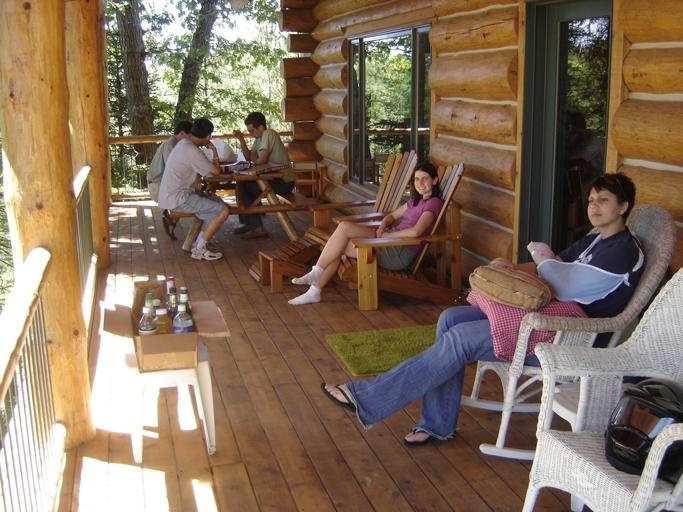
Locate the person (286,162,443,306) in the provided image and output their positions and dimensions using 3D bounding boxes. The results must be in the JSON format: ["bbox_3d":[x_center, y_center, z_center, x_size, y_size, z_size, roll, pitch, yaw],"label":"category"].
[{"bbox_3d":[0.175,-0.262,5.214,1.922,1.144,1.104,-23,30,-37],"label":"person"}]

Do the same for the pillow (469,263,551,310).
[{"bbox_3d":[0.922,0.164,2.705,0.270,0.101,0.266,23,17,21],"label":"pillow"}]

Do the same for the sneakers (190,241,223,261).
[{"bbox_3d":[-1.775,-0.073,6.651,0.457,0.262,0.189,-4,20,-11],"label":"sneakers"}]

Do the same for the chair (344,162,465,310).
[{"bbox_3d":[0.735,-0.208,5.643,1.645,1.555,1.203,-5,11,-17],"label":"chair"}]

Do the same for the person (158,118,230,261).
[{"bbox_3d":[-1.889,-0.888,6.699,0.840,1.808,0.760,8,17,32],"label":"person"}]

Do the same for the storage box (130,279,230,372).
[{"bbox_3d":[-0.964,0.371,2.980,0.503,0.184,0.824,-8,21,-24],"label":"storage box"}]

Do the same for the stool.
[{"bbox_3d":[-0.949,0.768,3.016,0.653,0.572,0.602,-6,24,-15],"label":"stool"}]

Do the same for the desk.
[{"bbox_3d":[-1.269,-0.719,7.665,1.633,0.698,1.591,3,8,-2],"label":"desk"}]

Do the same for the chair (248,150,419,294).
[{"bbox_3d":[-0.101,-0.591,6.236,2.520,1.605,1.156,-12,25,-20],"label":"chair"}]

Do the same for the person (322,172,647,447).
[{"bbox_3d":[0.800,0.332,2.955,1.820,1.513,0.719,-2,3,3],"label":"person"}]

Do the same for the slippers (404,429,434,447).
[{"bbox_3d":[0.449,1.058,2.912,0.183,0.074,0.080,10,11,-14],"label":"slippers"}]

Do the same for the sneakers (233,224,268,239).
[{"bbox_3d":[-1.382,-0.358,7.648,0.418,0.137,0.228,-1,16,-20],"label":"sneakers"}]
